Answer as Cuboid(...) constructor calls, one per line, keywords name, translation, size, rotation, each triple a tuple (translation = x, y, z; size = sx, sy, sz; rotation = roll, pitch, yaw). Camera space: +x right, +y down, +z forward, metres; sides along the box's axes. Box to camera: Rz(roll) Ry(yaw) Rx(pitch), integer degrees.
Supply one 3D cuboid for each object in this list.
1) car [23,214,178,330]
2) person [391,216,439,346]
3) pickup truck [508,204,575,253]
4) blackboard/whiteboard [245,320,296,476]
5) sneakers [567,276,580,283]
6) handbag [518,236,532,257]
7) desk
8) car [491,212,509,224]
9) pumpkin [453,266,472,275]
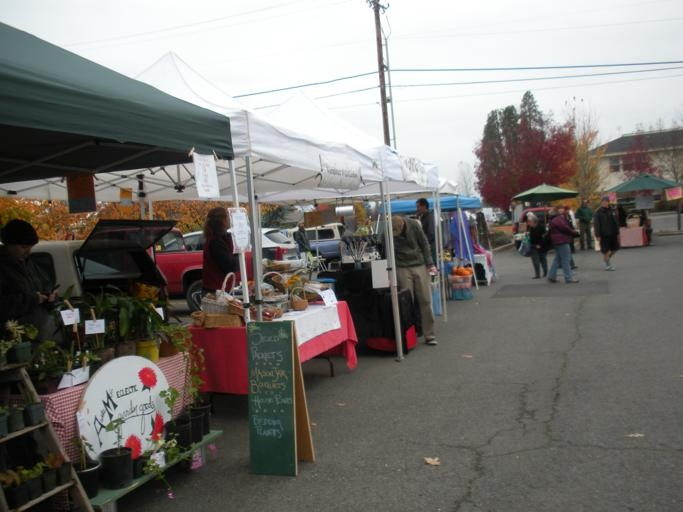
Cuboid(name="car", translation=(-2.646, 0.137, 5.553), size=(1.600, 1.046, 0.979), rotation=(1, 0, 17))
Cuboid(name="person", translation=(1.236, 0.413, 8.897), size=(0.692, 2.215, 0.465), rotation=(-8, 4, -14))
Cuboid(name="pickup truck", translation=(9.167, -1.147, 25.621), size=(2.076, 1.815, 4.151), rotation=(-1, 9, 19))
Cuboid(name="blackboard/whiteboard", translation=(-0.643, 1.306, 4.945), size=(0.480, 1.042, 0.292), rotation=(-6, 5, 17))
Cuboid(name="sneakers", translation=(6.269, 0.669, 14.522), size=(0.177, 0.212, 0.515), rotation=(-5, -5, 4))
Cuboid(name="handbag", translation=(7.122, -0.360, 20.743), size=(0.412, 0.401, 0.888), rotation=(-2, -12, 9))
Cuboid(name="desk", translation=(-0.999, 1.136, 6.120), size=(1.084, 0.712, 1.448), rotation=(-1, 1, 25))
Cuboid(name="car", translation=(16.476, -3.654, 55.391), size=(1.349, 1.469, 1.552), rotation=(-13, 11, -39))
Cuboid(name="pumpkin", translation=(3.212, 0.407, 14.078), size=(0.294, 0.169, 0.310), rotation=(1, 2, 29))
